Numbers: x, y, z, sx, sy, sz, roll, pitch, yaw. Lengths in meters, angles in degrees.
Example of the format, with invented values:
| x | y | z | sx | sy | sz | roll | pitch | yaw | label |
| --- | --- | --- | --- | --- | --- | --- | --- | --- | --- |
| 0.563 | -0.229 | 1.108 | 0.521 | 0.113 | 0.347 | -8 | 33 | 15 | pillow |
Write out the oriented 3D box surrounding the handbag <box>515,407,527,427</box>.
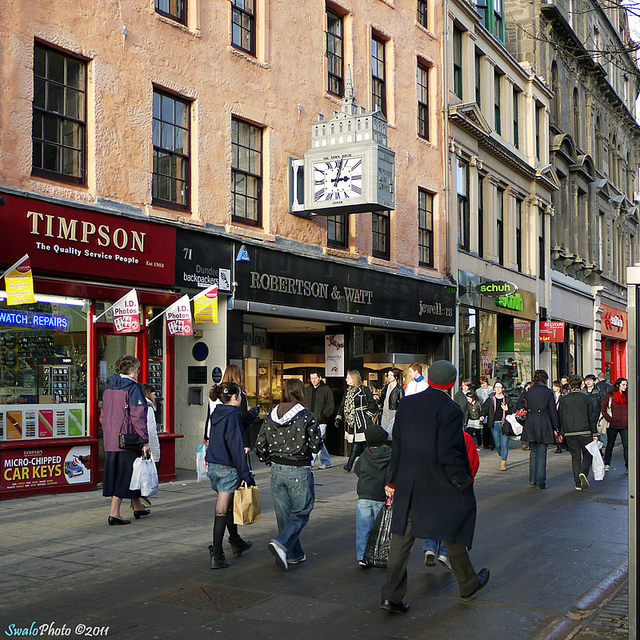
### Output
| x | y | z | sx | sy | sz | roll | pitch | yaw | label |
| --- | --- | --- | --- | --- | --- | --- | --- | --- | --- |
| 3.498 | 1.661 | 16.195 | 0.111 | 0.383 | 0.228 | 10 | 7 | 41 | handbag |

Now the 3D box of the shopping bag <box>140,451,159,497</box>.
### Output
| x | y | z | sx | sy | sz | roll | pitch | yaw | label |
| --- | --- | --- | --- | --- | --- | --- | --- | --- | --- |
| -2.061 | 1.826 | 11.074 | 0.195 | 0.534 | 0.315 | -1 | -5 | -11 | shopping bag |

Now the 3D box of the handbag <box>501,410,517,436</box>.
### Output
| x | y | z | sx | sy | sz | roll | pitch | yaw | label |
| --- | --- | --- | --- | --- | --- | --- | --- | --- | --- |
| 3.553 | 2.022 | 17.604 | 0.310 | 0.416 | 0.239 | -1 | 2 | -14 | handbag |

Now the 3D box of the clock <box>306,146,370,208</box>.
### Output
| x | y | z | sx | sy | sz | roll | pitch | yaw | label |
| --- | --- | --- | --- | --- | --- | --- | --- | --- | --- |
| 0.380 | -2.672 | 17.420 | 0.885 | 0.849 | 0.129 | -2 | -7 | 16 | clock |

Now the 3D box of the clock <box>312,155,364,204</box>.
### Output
| x | y | z | sx | sy | sz | roll | pitch | yaw | label |
| --- | --- | --- | --- | --- | --- | --- | --- | --- | --- |
| 0.313 | -2.642 | 17.433 | 1.009 | 0.813 | 0.133 | -4 | -5 | 18 | clock |

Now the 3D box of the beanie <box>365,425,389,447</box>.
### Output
| x | y | z | sx | sy | sz | roll | pitch | yaw | label |
| --- | --- | --- | --- | --- | --- | --- | --- | --- | --- |
| 0.537 | 1.118 | 8.968 | 0.194 | 0.209 | 0.267 | -2 | -5 | 4 | beanie |

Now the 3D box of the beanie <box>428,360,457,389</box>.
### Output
| x | y | z | sx | sy | sz | roll | pitch | yaw | label |
| --- | --- | --- | --- | --- | --- | --- | --- | --- | --- |
| 1.020 | 0.453 | 7.759 | 0.159 | 0.217 | 0.246 | 9 | 18 | 28 | beanie |

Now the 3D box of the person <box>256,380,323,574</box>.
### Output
| x | y | z | sx | sy | sz | roll | pitch | yaw | label |
| --- | --- | --- | --- | --- | --- | --- | --- | --- | --- |
| -0.298 | 1.467 | 8.887 | 0.635 | 1.789 | 0.527 | -1 | -5 | -6 | person |

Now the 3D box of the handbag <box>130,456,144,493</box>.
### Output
| x | y | z | sx | sy | sz | roll | pitch | yaw | label |
| --- | --- | --- | --- | --- | --- | --- | --- | --- | --- |
| -2.179 | 1.827 | 10.965 | 0.164 | 0.402 | 0.129 | 0 | -5 | -12 | handbag |

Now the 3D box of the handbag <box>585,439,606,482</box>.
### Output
| x | y | z | sx | sy | sz | roll | pitch | yaw | label |
| --- | --- | --- | --- | --- | --- | --- | --- | --- | --- |
| 4.375 | 2.231 | 14.776 | 0.258 | 0.691 | 0.940 | -3 | -5 | 18 | handbag |

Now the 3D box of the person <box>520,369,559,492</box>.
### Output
| x | y | z | sx | sy | sz | roll | pitch | yaw | label |
| --- | --- | --- | --- | --- | --- | --- | --- | --- | --- |
| 3.509 | 1.719 | 14.763 | 0.575 | 1.860 | 1.172 | -3 | -5 | 14 | person |

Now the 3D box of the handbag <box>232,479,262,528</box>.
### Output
| x | y | z | sx | sy | sz | roll | pitch | yaw | label |
| --- | --- | --- | --- | --- | --- | --- | --- | --- | --- |
| -0.719 | 1.736 | 8.887 | 0.253 | 0.429 | 0.195 | -1 | -5 | -9 | handbag |

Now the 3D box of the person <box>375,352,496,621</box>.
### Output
| x | y | z | sx | sy | sz | roll | pitch | yaw | label |
| --- | --- | --- | --- | --- | --- | --- | --- | --- | --- |
| 1.015 | 1.364 | 7.707 | 0.828 | 2.078 | 0.662 | 0 | 5 | -7 | person |

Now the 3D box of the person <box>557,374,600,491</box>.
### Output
| x | y | z | sx | sy | sz | roll | pitch | yaw | label |
| --- | --- | --- | --- | --- | --- | --- | --- | --- | --- |
| 4.095 | 1.778 | 14.875 | 0.469 | 1.872 | 0.548 | -4 | 1 | -44 | person |

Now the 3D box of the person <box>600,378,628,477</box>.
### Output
| x | y | z | sx | sy | sz | roll | pitch | yaw | label |
| --- | --- | --- | --- | --- | --- | --- | --- | --- | --- |
| 5.564 | 1.959 | 17.547 | 0.486 | 1.743 | 2.118 | -3 | -5 | 18 | person |
